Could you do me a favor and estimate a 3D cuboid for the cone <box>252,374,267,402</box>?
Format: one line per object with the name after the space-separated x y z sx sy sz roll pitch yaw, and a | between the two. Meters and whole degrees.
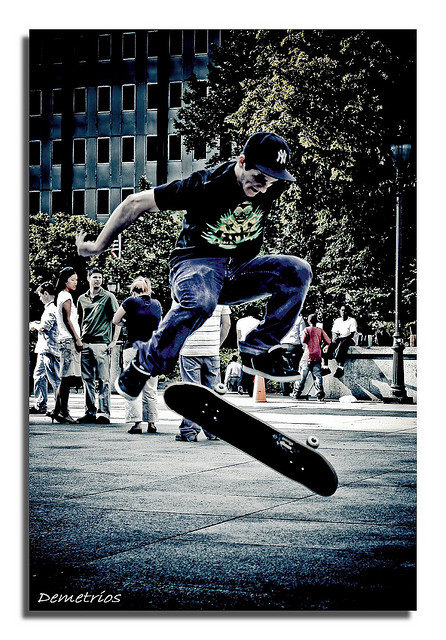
0.466 0.893 15.721 0.172 0.358 0.499 1 4 2 | cone

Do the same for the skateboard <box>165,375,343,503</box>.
0.236 0.971 9.790 1.244 0.317 0.191 32 22 1 | skateboard
